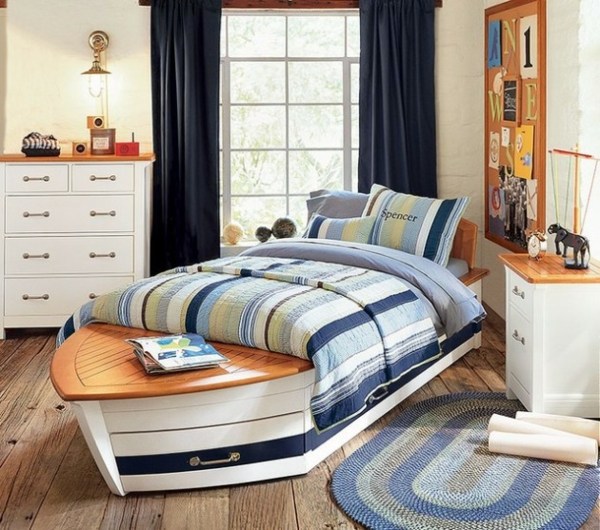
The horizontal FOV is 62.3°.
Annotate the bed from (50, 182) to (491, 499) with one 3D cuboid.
[{"bbox_3d":[-0.026,0.309,2.036,1.072,0.557,1.422,11,22,38],"label":"bed"}]

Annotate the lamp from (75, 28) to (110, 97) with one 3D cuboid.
[{"bbox_3d":[-1.621,-1.572,3.818,0.237,0.513,0.226,-4,8,-19],"label":"lamp"}]
